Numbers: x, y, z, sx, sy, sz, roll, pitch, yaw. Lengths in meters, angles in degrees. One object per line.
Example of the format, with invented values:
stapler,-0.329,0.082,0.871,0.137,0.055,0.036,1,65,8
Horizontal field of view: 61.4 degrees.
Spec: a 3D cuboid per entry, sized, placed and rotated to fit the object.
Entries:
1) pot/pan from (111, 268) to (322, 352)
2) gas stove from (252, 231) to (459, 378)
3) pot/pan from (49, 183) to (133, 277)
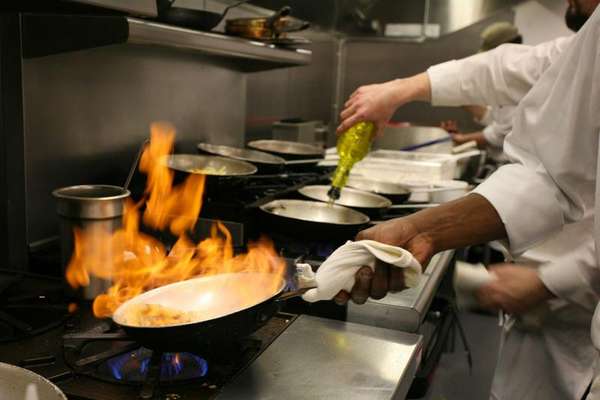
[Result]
pot/pan,-0.261,0.240,1.362,0.387,0.056,0.255,-6,5,-36
gas stove,0.186,0.240,1.475,0.476,0.094,0.501,2,11,19
pot/pan,-0.607,0.095,1.690,0.272,0.318,0.256,2,6,6
